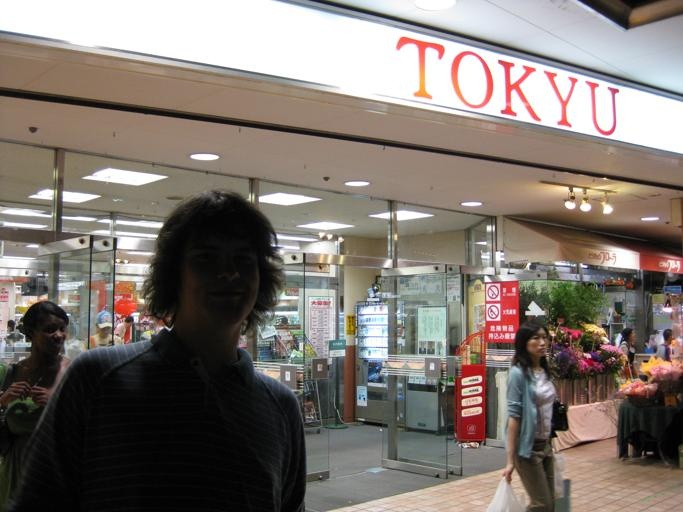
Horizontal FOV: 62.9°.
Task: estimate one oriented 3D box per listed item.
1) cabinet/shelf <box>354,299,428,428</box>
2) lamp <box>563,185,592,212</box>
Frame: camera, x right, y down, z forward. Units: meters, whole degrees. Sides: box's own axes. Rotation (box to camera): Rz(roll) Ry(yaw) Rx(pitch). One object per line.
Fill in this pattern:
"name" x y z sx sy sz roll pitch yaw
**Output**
"cabinet/shelf" 0.571 1.970 10.321 0.482 2.300 1.014 5 -8 -33
"lamp" 3.325 -0.832 7.856 0.328 0.253 0.121 3 -14 -15
